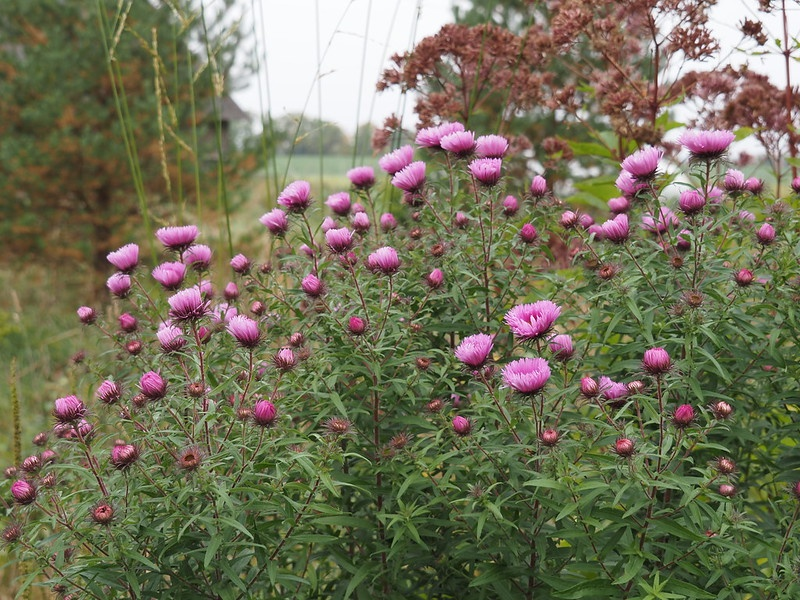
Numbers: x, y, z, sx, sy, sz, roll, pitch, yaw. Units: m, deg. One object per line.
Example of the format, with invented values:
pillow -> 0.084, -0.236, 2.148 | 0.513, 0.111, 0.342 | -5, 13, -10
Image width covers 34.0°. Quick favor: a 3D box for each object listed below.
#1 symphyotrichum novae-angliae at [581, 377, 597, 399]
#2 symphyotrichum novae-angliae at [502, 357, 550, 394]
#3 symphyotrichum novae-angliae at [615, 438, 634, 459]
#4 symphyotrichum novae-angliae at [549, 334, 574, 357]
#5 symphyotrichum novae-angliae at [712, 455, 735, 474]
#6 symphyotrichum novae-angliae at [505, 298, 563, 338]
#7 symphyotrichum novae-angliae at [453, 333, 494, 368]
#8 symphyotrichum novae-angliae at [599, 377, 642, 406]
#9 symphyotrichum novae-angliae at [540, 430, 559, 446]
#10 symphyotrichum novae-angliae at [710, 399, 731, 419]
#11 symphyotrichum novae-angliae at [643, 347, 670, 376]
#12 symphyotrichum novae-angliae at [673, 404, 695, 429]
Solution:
symphyotrichum novae-angliae -> 1.096, 0.504, 7.536 | 0.104, 0.118, 0.160 | -3, 9, 8
symphyotrichum novae-angliae -> 0.716, 0.423, 7.395 | 0.213, 0.135, 0.212 | -34, 35, -21
symphyotrichum novae-angliae -> 1.276, 0.847, 7.435 | 0.100, 0.095, 0.102 | -10, -13, -11
symphyotrichum novae-angliae -> 0.947, 0.273, 7.673 | 0.123, 0.142, 0.131 | -2, -2, -33
symphyotrichum novae-angliae -> 1.884, 0.958, 7.538 | 0.099, 0.084, 0.119 | -2, 9, 16
symphyotrichum novae-angliae -> 0.770, 0.131, 7.521 | 0.281, 0.175, 0.304 | -17, 13, -9
symphyotrichum novae-angliae -> 0.430, 0.299, 7.614 | 0.205, 0.193, 0.260 | -4, 9, 3
symphyotrichum novae-angliae -> 1.288, 0.544, 7.622 | 0.186, 0.126, 0.185 | -3, 5, -7
symphyotrichum novae-angliae -> 0.865, 0.792, 7.471 | 0.079, 0.089, 0.091 | -2, 31, 3
symphyotrichum novae-angliae -> 1.849, 0.633, 7.504 | 0.089, 0.097, 0.091 | -5, -13, 41
symphyotrichum novae-angliae -> 1.459, 0.360, 7.481 | 0.129, 0.159, 0.146 | 4, -9, -7
symphyotrichum novae-angliae -> 1.625, 0.670, 7.481 | 0.108, 0.138, 0.121 | 10, 0, 13
